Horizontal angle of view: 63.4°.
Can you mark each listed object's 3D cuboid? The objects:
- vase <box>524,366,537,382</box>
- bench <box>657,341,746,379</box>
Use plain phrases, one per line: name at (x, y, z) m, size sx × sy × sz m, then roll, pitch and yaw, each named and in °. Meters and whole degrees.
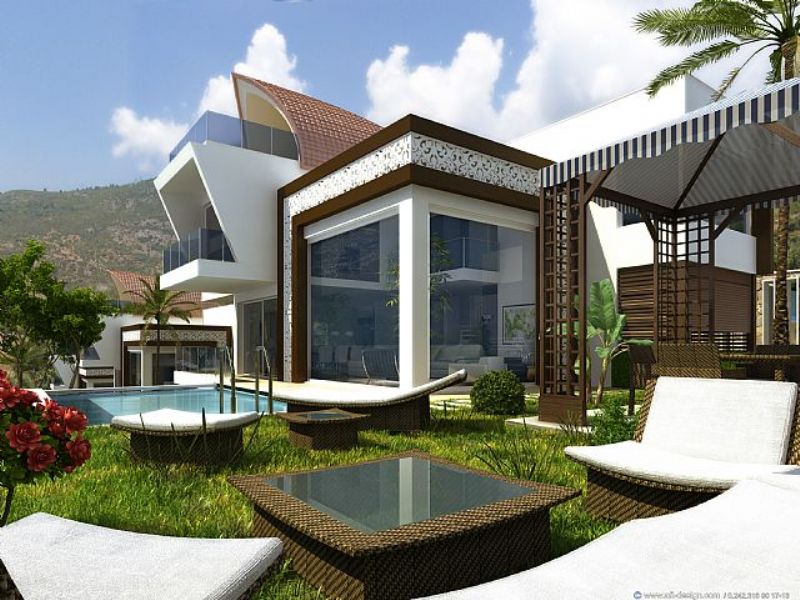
vase at (2.744, 1.571, 13.744) m, size 0.235 × 0.330 × 0.259 m, roll 1°, pitch -3°, yaw -1°
bench at (2.338, 0.494, 5.286) m, size 0.481 × 0.287 × 0.728 m, roll -5°, pitch -7°, yaw 29°
